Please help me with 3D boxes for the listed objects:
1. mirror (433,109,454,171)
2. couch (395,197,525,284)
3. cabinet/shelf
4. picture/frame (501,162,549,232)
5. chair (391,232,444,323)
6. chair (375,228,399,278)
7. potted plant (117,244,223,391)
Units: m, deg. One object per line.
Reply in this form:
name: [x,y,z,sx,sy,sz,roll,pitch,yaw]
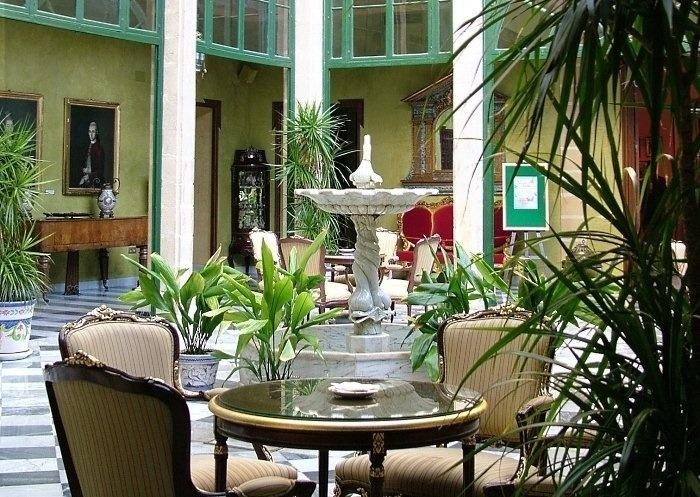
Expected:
mirror: [1.806,-1.868,12.676,0.374,0.915,0.081,-8,39,-3]
couch: [1.636,-0.187,12.379,0.675,1.450,1.868,-13,11,-37]
cabinet/shelf: [-1.985,-0.711,13.590,0.690,2.508,0.639,0,-4,-7]
picture/frame: [2.507,-0.727,9.628,0.654,0.915,0.640,0,3,8]
chair: [0.691,0.377,8.221,0.673,1.153,0.696,7,8,18]
chair: [0.506,0.103,9.788,0.374,0.766,0.439,3,9,1]
potted plant: [-1.491,0.697,5.967,0.959,1.152,0.907,2,-13,-30]
